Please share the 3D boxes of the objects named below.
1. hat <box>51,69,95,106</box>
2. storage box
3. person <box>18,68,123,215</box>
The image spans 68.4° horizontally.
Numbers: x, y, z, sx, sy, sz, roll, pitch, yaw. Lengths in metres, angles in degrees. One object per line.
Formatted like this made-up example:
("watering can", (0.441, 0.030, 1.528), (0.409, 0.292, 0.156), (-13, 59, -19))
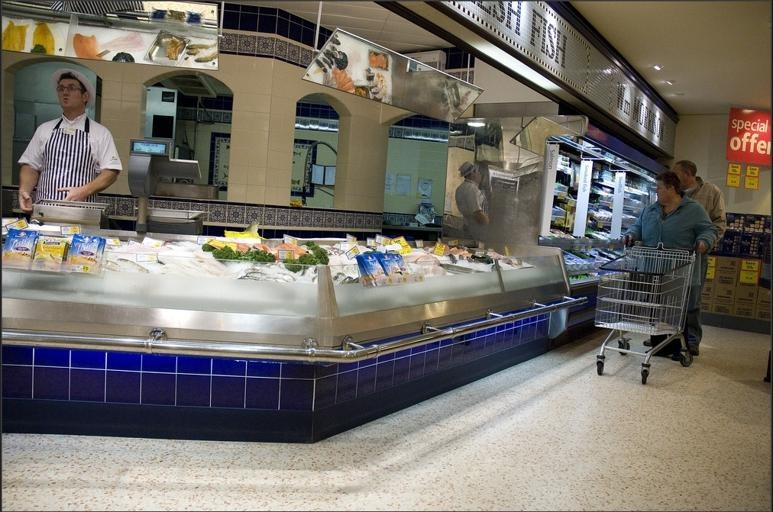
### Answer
("hat", (-2.939, -1.590, 5.327), (0.331, 0.287, 0.326), (1, 9, -36))
("storage box", (5.382, 0.505, 8.688), (1.231, 1.003, 0.398), (0, -4, 33))
("person", (-2.973, -1.045, 5.281), (0.854, 1.288, 0.449), (8, 8, 12))
